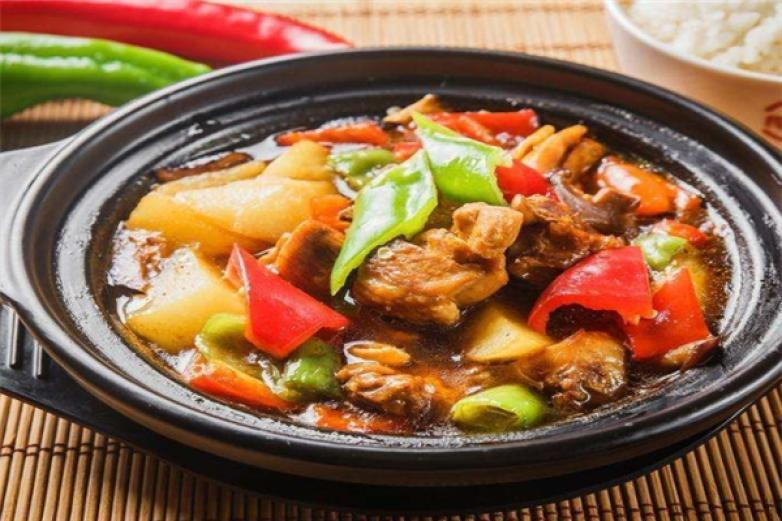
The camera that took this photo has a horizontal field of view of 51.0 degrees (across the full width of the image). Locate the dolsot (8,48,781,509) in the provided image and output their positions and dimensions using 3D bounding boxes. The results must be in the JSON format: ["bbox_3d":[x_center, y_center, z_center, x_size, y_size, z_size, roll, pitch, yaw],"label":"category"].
[{"bbox_3d":[0.032,0.135,3.634,3.183,0.258,1.328,-1,51,0],"label":"dolsot"}]

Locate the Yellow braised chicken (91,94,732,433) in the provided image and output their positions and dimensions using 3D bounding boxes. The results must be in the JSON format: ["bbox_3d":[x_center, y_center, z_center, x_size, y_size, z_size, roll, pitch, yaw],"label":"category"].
[{"bbox_3d":[0.094,0.054,3.630,2.387,0.433,1.152,0,63,0],"label":"Yellow braised chicken"}]
